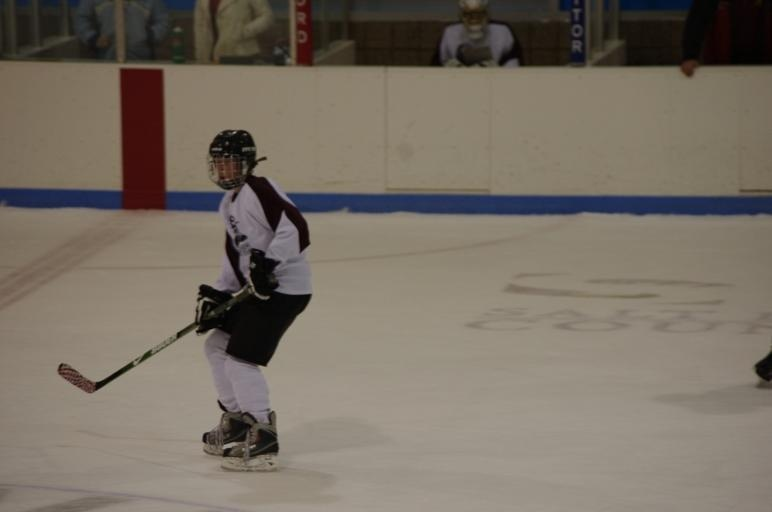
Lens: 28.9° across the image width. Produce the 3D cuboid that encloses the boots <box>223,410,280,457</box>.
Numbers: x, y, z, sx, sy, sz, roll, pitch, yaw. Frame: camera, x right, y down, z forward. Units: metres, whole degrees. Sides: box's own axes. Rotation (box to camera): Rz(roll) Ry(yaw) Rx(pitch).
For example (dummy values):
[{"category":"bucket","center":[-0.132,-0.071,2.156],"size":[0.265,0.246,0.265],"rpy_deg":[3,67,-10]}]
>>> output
[{"category":"boots","center":[-0.930,1.183,9.676],"size":[0.178,0.370,0.539],"rpy_deg":[0,-4,42]}]

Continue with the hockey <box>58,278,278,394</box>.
[{"category":"hockey","center":[-1.594,0.553,10.197],"size":[0.273,0.078,1.869],"rpy_deg":[43,31,11]}]

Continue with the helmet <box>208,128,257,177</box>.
[{"category":"helmet","center":[-1.029,-0.685,9.946],"size":[0.292,0.326,0.361],"rpy_deg":[5,10,24]}]

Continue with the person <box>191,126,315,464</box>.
[{"category":"person","center":[-0.892,0.272,9.771],"size":[0.693,2.104,0.854],"rpy_deg":[-7,16,-36]}]

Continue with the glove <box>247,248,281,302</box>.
[{"category":"glove","center":[-0.778,0.155,9.666],"size":[0.131,0.274,0.304],"rpy_deg":[12,-1,-42]}]
